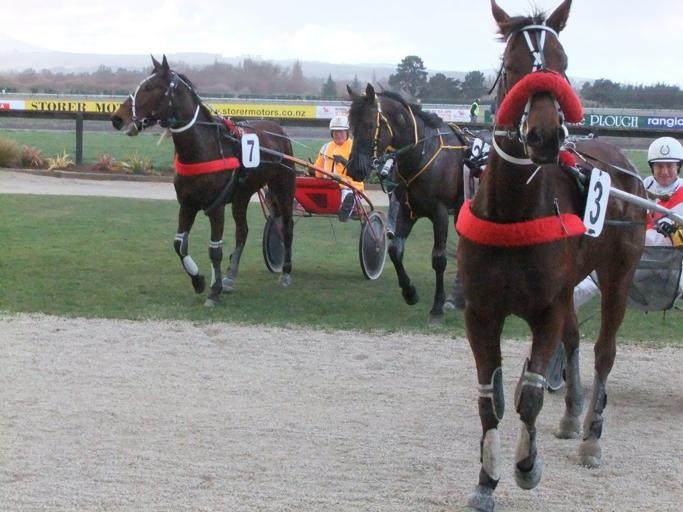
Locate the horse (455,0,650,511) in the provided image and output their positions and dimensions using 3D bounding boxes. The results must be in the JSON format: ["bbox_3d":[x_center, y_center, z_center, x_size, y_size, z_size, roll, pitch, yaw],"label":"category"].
[{"bbox_3d":[1.467,-0.062,7.221,0.877,3.330,1.840,11,17,35],"label":"horse"}]

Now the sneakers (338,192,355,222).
[{"bbox_3d":[-0.064,-0.574,12.102,0.115,0.318,0.181,10,8,-42],"label":"sneakers"}]
